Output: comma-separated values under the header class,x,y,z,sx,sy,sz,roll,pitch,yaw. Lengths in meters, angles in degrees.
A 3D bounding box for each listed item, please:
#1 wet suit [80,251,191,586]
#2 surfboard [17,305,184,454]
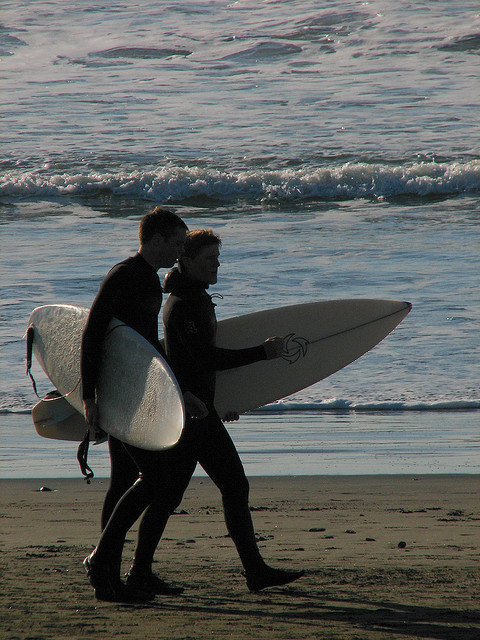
class,x,y,z,sx,sy,sz,roll,pitch,yaw
wet suit,-0.941,0.900,13.497,1.038,2.959,0.728,-3,13,-17
surfboard,-0.951,0.383,13.707,0.793,0.275,2.071,27,34,-4
